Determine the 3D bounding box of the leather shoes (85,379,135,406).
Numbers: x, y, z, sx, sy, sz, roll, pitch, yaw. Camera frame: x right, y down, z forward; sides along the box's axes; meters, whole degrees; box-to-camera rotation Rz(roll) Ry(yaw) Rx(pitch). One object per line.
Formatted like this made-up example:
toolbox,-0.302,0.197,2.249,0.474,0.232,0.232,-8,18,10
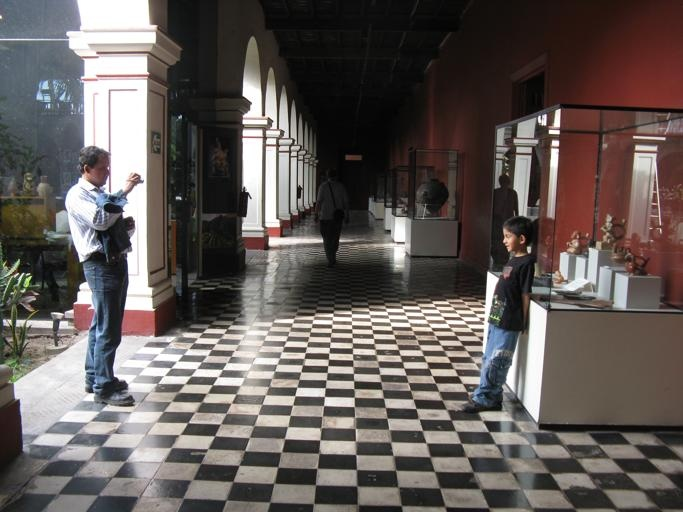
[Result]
leather shoes,-2.207,1.289,4.937,0.540,0.264,0.199,0,7,-10

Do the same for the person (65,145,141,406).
person,-2.170,0.171,4.861,0.614,2.355,0.383,4,9,21

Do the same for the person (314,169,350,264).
person,-0.218,-0.944,12.429,0.756,2.247,1.565,1,9,1

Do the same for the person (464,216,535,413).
person,1.461,0.538,4.784,0.519,1.803,0.284,3,8,15

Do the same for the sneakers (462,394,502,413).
sneakers,1.341,1.383,4.957,0.414,0.172,0.145,4,0,-6
